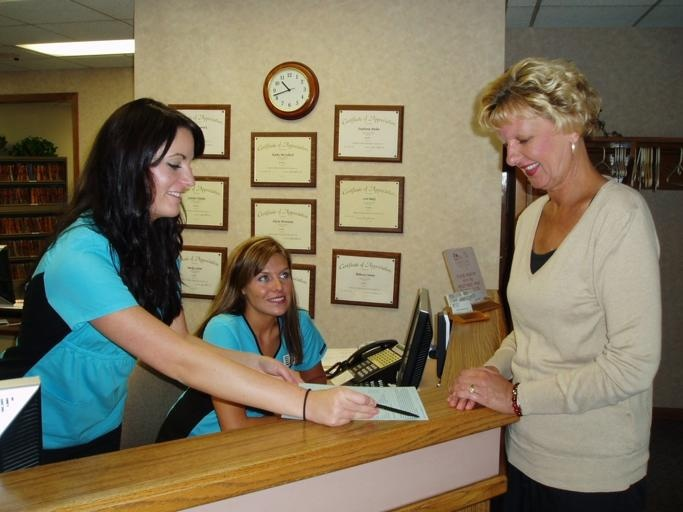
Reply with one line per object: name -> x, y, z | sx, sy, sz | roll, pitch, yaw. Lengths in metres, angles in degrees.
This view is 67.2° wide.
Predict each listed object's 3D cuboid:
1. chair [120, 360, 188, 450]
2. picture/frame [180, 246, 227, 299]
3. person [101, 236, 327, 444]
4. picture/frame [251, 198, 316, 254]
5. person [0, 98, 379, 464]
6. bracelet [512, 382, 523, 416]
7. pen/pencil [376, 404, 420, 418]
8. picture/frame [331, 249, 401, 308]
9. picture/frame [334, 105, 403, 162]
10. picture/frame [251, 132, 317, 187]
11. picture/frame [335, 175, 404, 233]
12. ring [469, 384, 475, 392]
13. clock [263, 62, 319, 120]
chair -> -0.683, 0.531, 1.830 | 0.268, 0.318, 0.240 | 3, -10, 1
picture/frame -> -0.975, 0.102, 3.684 | 0.407, 0.394, 0.042 | 1, 12, 9
person -> -0.509, 0.304, 2.548 | 0.804, 1.289, 0.726 | 8, 6, 28
picture/frame -> -0.373, -0.214, 3.541 | 0.424, 0.351, 0.041 | 3, 12, 10
person -> -0.600, 0.113, 1.691 | 1.050, 1.247, 0.548 | -1, 5, 4
bracelet -> 0.514, 0.428, 1.520 | 0.025, 0.072, 0.057 | -11, 1, 22
pen/pencil -> 0.157, 0.440, 1.457 | 0.110, 0.005, 0.015 | 8, 38, 30
picture/frame -> 0.195, 0.151, 3.697 | 0.415, 0.338, 0.042 | 3, 7, 11
picture/frame -> 0.210, -0.866, 3.603 | 0.400, 0.323, 0.030 | 2, 6, 6
picture/frame -> -0.393, -0.704, 3.713 | 0.406, 0.327, 0.042 | 1, 4, 7
picture/frame -> 0.218, -0.380, 3.650 | 0.419, 0.340, 0.030 | 1, 8, 6
ring -> 0.379, 0.384, 1.494 | 0.016, 0.021, 0.008 | -2, 5, 1
clock -> -0.364, -1.175, 3.668 | 0.403, 0.392, 0.069 | 4, 10, 12
